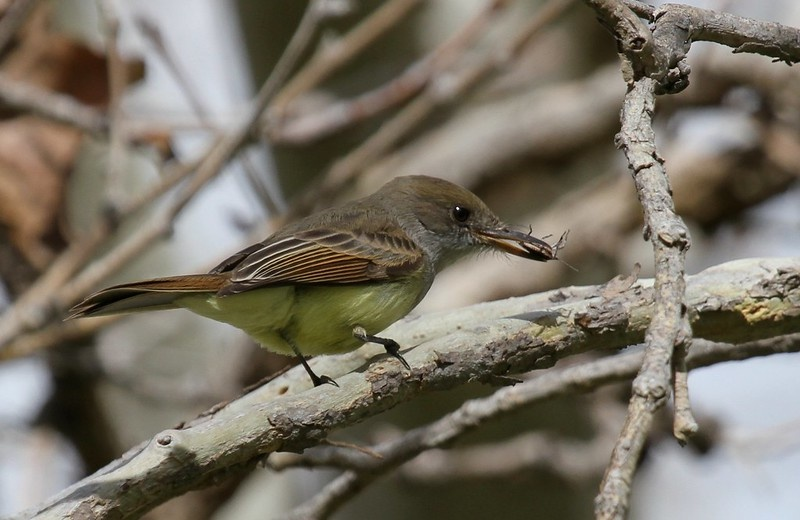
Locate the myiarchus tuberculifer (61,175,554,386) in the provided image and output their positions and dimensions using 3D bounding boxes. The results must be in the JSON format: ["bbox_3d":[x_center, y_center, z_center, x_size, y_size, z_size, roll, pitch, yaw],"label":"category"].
[{"bbox_3d":[-0.466,0.067,5.621,2.852,1.095,0.848,3,-7,-23],"label":"myiarchus tuberculifer"}]
